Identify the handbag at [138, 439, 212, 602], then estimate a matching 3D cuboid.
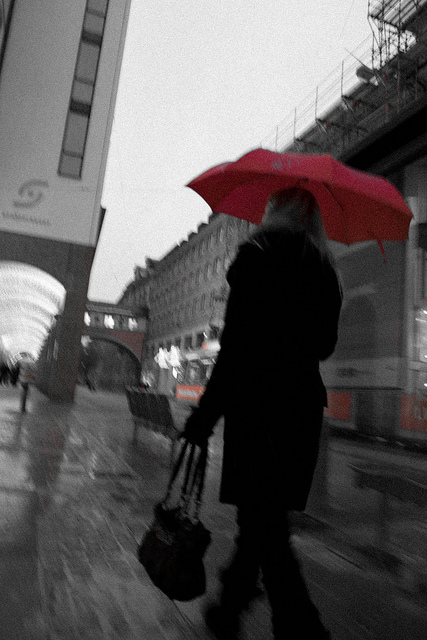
[{"bbox_3d":[-0.090,0.463,1.023,0.167,0.405,0.101,14,7,17],"label":"handbag"}]
